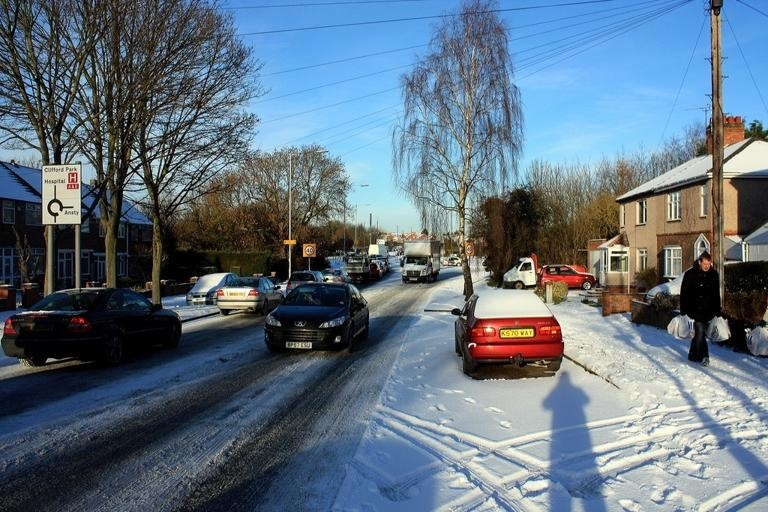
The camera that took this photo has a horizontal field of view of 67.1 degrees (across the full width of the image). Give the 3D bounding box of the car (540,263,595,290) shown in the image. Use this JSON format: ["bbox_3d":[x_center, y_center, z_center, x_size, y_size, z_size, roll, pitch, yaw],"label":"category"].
[{"bbox_3d":[10.714,1.219,34.054,1.873,1.160,1.283,-4,1,3],"label":"car"}]

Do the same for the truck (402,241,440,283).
[{"bbox_3d":[2.917,0.400,46.274,1.608,2.663,4.492,0,-2,9],"label":"truck"}]

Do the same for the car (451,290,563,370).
[{"bbox_3d":[2.850,1.863,13.260,2.107,1.833,1.324,0,12,0],"label":"car"}]

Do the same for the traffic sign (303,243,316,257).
[{"bbox_3d":[-5.245,-0.459,39.757,0.857,1.063,0.237,-1,5,17],"label":"traffic sign"}]

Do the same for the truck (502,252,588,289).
[{"bbox_3d":[10.039,1.133,35.738,3.866,2.084,2.649,-3,3,0],"label":"truck"}]

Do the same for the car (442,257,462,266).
[{"bbox_3d":[9.313,0.628,80.182,2.777,1.646,1.940,5,2,11],"label":"car"}]

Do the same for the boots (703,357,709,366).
[{"bbox_3d":[7.305,2.422,13.166,0.131,0.218,0.192,-2,5,6],"label":"boots"}]

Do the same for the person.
[{"bbox_3d":[7.285,1.169,13.392,0.807,2.588,0.774,9,14,37],"label":"person"}]
